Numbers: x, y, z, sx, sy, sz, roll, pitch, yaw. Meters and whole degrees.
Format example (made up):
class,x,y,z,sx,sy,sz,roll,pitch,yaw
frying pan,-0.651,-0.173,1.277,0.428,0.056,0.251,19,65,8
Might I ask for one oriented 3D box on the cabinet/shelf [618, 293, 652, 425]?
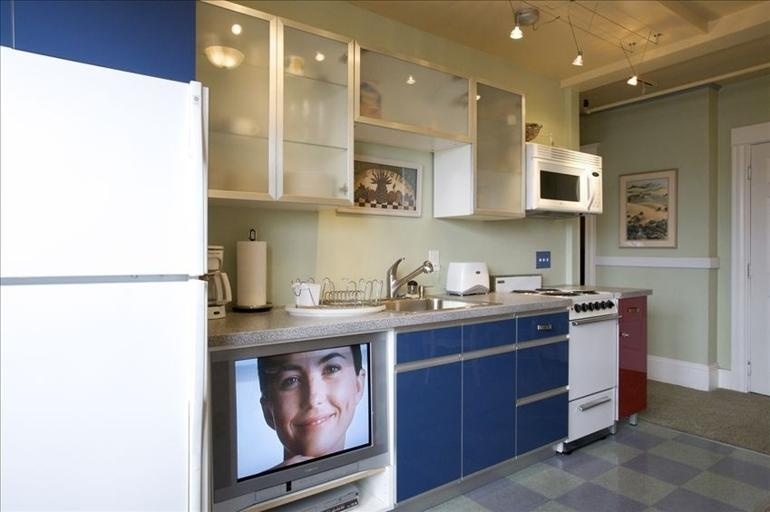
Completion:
class,x,y,z,sx,sy,sz,roll,pitch,yaw
cabinet/shelf,1.887,0.802,4.249,0.498,1.012,0.167,-10,13,-44

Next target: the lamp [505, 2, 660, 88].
class,x,y,z,sx,sy,sz,roll,pitch,yaw
lamp,1.503,-1.668,4.266,1.330,0.424,0.210,7,29,-30

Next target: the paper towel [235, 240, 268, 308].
class,x,y,z,sx,sy,sz,roll,pitch,yaw
paper towel,-0.816,0.110,3.377,0.203,0.403,0.189,-3,-4,-15

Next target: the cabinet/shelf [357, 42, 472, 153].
class,x,y,z,sx,sy,sz,roll,pitch,yaw
cabinet/shelf,0.180,-1.050,3.725,0.946,0.493,0.282,-2,3,-38

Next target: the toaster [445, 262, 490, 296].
class,x,y,z,sx,sy,sz,roll,pitch,yaw
toaster,0.628,0.161,4.227,0.313,0.231,0.220,-3,2,-33

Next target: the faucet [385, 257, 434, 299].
class,x,y,z,sx,sy,sz,roll,pitch,yaw
faucet,0.180,0.155,3.894,0.376,0.279,0.102,-7,-5,28

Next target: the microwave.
class,x,y,z,sx,sy,sz,roll,pitch,yaw
microwave,1.372,-0.604,4.556,0.885,0.500,0.467,0,-1,-33

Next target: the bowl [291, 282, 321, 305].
class,x,y,z,sx,sy,sz,roll,pitch,yaw
bowl,-0.462,0.223,3.298,0.139,0.124,0.178,-1,0,-32

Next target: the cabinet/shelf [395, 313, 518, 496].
class,x,y,z,sx,sy,sz,roll,pitch,yaw
cabinet/shelf,0.269,0.907,3.552,1.119,0.988,0.597,2,-3,-40

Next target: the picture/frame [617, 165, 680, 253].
class,x,y,z,sx,sy,sz,roll,pitch,yaw
picture/frame,2.614,-0.484,5.495,0.165,0.760,0.631,-7,11,-30

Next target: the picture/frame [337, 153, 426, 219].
class,x,y,z,sx,sy,sz,roll,pitch,yaw
picture/frame,-0.049,-0.498,3.821,0.553,0.307,0.023,0,-2,-39

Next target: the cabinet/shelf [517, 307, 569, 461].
class,x,y,z,sx,sy,sz,roll,pitch,yaw
cabinet/shelf,1.050,0.815,3.695,0.598,0.880,0.187,-9,12,-41
